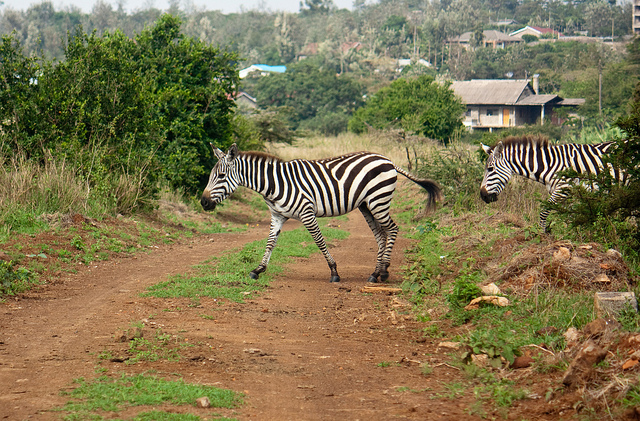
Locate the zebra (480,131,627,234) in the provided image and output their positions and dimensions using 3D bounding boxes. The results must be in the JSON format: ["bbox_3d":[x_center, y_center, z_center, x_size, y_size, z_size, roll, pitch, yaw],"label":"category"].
[{"bbox_3d":[5.135,-0.692,19.430,2.686,2.099,2.294,3,8,11],"label":"zebra"}]

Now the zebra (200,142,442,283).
[{"bbox_3d":[0.124,0.174,19.798,5.772,3.383,1.367,-1,4,-11],"label":"zebra"}]
